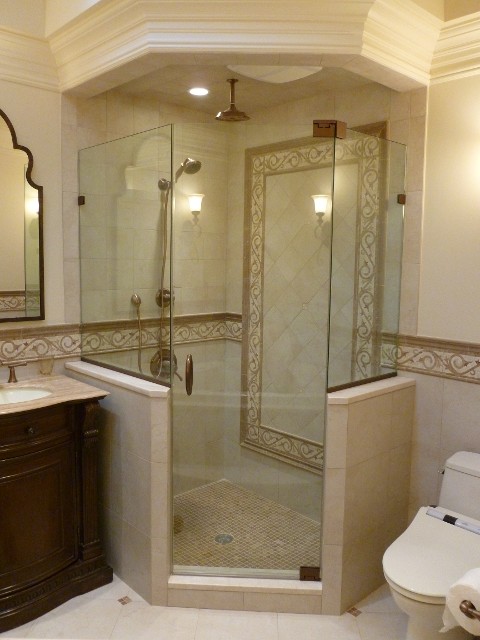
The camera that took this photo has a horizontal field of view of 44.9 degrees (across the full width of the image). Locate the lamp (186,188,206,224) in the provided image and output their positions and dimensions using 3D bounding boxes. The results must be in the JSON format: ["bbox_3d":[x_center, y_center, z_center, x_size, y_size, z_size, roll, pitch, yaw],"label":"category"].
[{"bbox_3d":[-0.166,-0.437,2.204,0.093,0.109,0.097,0,-3,20],"label":"lamp"}]
